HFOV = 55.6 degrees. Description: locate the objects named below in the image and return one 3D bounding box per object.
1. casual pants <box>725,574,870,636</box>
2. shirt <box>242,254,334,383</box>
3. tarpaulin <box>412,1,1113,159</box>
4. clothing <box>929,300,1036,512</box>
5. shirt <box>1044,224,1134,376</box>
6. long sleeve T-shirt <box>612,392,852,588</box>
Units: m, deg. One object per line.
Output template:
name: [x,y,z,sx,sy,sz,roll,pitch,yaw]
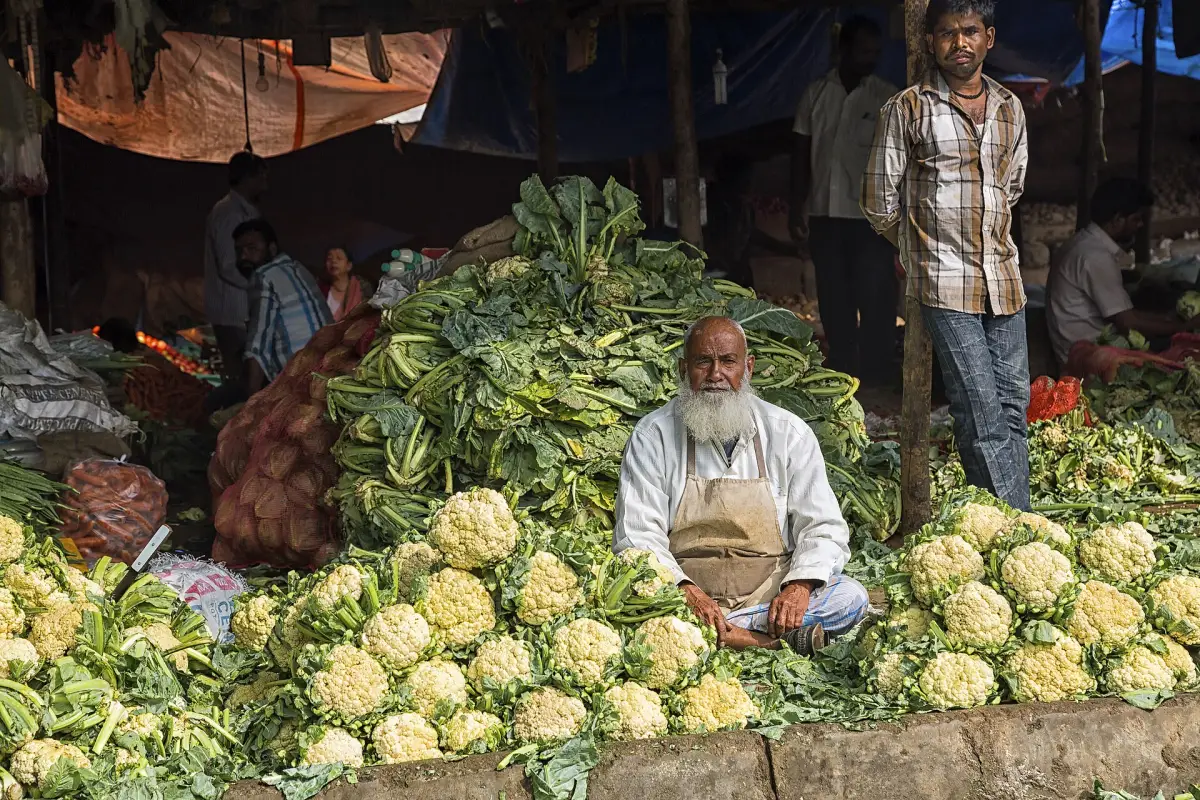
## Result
casual pants: [1.036,1.045,5.657,0.400,0.121,0.380,-12,-2,-1]
shirt: [-2.404,-0.663,9.283,0.840,0.931,0.511,-18,15,-38]
tarpaulin: [0.891,-3.491,12.375,4.286,1.161,3.109,-7,12,-15]
clothing: [2.292,0.077,6.564,0.537,1.375,0.352,-18,9,-22]
shirt: [4.292,-1.002,10.280,0.540,1.099,1.017,-5,18,-11]
long sleeve T-shirt: [0.618,0.557,5.695,1.158,0.846,0.857,-5,9,14]
